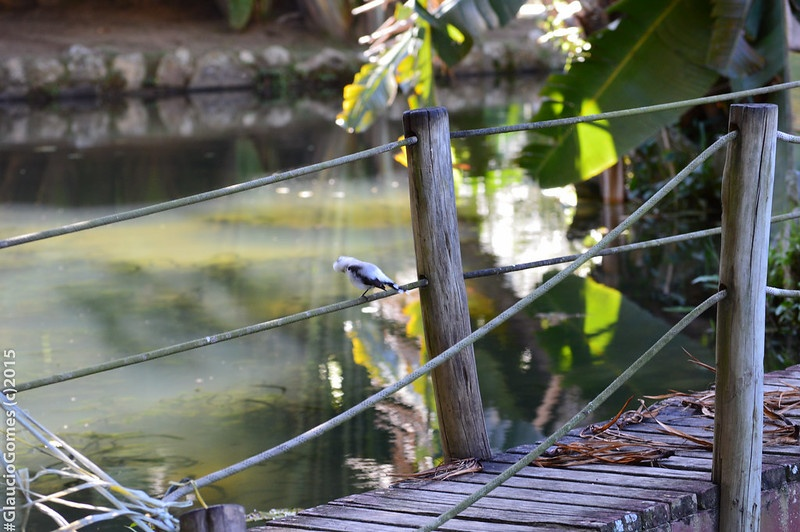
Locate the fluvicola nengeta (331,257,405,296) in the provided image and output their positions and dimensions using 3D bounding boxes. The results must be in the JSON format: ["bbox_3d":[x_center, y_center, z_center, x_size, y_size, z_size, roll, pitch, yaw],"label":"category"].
[{"bbox_3d":[-0.191,0.036,8.412,0.534,0.226,0.173,1,8,36],"label":"fluvicola nengeta"}]
